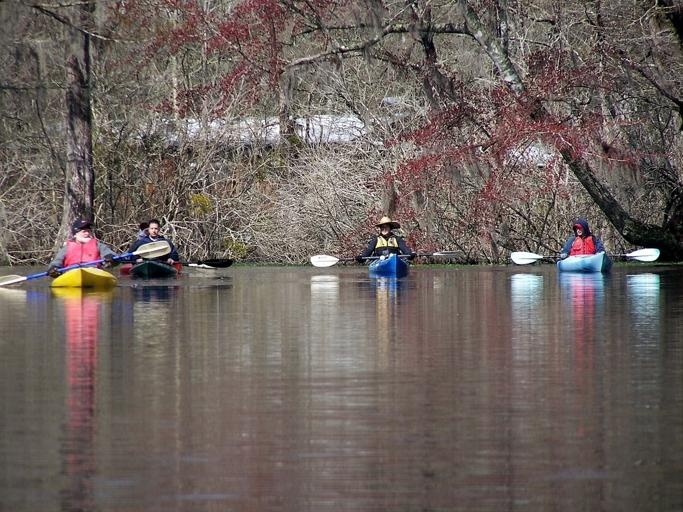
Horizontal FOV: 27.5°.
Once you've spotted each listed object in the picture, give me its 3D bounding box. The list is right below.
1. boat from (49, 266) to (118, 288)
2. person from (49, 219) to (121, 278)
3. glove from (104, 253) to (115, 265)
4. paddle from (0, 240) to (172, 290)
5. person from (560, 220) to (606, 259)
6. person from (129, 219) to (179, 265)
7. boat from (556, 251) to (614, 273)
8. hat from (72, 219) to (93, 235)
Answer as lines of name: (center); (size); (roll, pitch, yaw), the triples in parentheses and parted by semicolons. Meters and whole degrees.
boat: (-4.644, 0.365, 24.986); (0.801, 0.491, 1.000); (7, 12, 26)
person: (-4.678, 0.188, 24.972); (1.161, 1.561, 0.874); (-3, -2, -6)
glove: (-4.173, 0.049, 24.912); (0.141, 0.183, 0.337); (0, 11, -6)
paddle: (-5.027, 0.193, 27.291); (3.227, 0.339, 0.422); (-13, -22, -39)
person: (5.022, -0.226, 29.368); (0.909, 1.043, 0.610); (2, -19, -6)
person: (-3.939, -0.274, 29.129); (0.926, 1.442, 0.518); (-6, -32, -18)
boat: (5.030, 0.135, 28.941); (0.470, 0.257, 0.874); (3, -3, -32)
hat: (-4.615, -0.546, 24.620); (0.249, 0.198, 0.354); (2, -18, -45)
